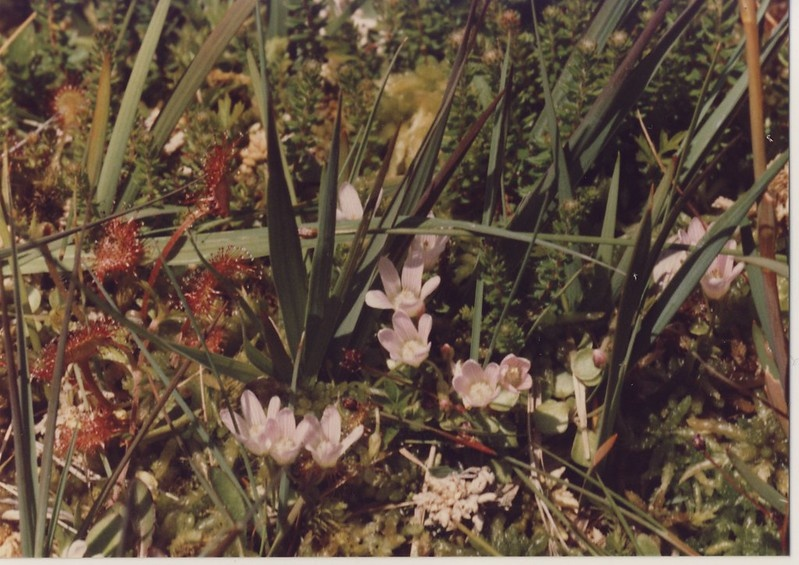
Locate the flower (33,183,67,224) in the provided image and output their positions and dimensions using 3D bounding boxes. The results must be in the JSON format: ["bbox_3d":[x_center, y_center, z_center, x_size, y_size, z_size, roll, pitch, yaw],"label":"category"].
[{"bbox_3d":[-0.738,-0.166,1.684,0.079,0.077,0.020,11,14,14],"label":"flower"}]

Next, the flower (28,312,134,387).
[{"bbox_3d":[-0.625,0.163,1.582,0.148,0.088,0.125,-25,6,-1],"label":"flower"}]

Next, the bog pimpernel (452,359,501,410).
[{"bbox_3d":[0.147,0.200,1.495,0.090,0.066,0.119,0,24,9],"label":"bog pimpernel"}]

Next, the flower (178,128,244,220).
[{"bbox_3d":[-0.373,-0.217,1.632,0.122,0.171,0.123,2,15,-18],"label":"flower"}]

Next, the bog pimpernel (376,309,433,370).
[{"bbox_3d":[0.025,0.115,1.495,0.108,0.071,0.124,-2,26,11],"label":"bog pimpernel"}]

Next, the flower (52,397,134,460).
[{"bbox_3d":[-0.619,0.297,1.626,0.115,0.131,0.069,22,-6,43],"label":"flower"}]

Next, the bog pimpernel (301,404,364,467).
[{"bbox_3d":[-0.141,0.293,1.506,0.087,0.058,0.090,9,31,14],"label":"bog pimpernel"}]

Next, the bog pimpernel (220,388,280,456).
[{"bbox_3d":[-0.272,0.274,1.494,0.116,0.063,0.122,-24,31,-1],"label":"bog pimpernel"}]

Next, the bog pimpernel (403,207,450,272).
[{"bbox_3d":[0.052,-0.086,1.574,0.077,0.047,0.079,23,7,40],"label":"bog pimpernel"}]

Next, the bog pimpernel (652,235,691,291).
[{"bbox_3d":[0.525,-0.035,1.564,0.059,0.105,0.149,11,16,18],"label":"bog pimpernel"}]

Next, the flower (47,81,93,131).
[{"bbox_3d":[-0.694,-0.366,1.689,0.074,0.099,0.029,6,2,7],"label":"flower"}]

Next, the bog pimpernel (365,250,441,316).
[{"bbox_3d":[0.012,0.016,1.516,0.122,0.094,0.175,-6,29,-2],"label":"bog pimpernel"}]

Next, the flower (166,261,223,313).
[{"bbox_3d":[-0.411,0.020,1.611,0.042,0.098,0.104,19,42,-54],"label":"flower"}]

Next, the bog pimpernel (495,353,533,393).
[{"bbox_3d":[0.220,0.171,1.530,0.060,0.039,0.072,11,9,31],"label":"bog pimpernel"}]

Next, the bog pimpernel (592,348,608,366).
[{"bbox_3d":[0.387,0.147,1.558,0.017,0.033,0.028,3,-12,8],"label":"bog pimpernel"}]

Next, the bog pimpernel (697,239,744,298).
[{"bbox_3d":[0.634,-0.008,1.569,0.101,0.097,0.051,4,14,-13],"label":"bog pimpernel"}]
